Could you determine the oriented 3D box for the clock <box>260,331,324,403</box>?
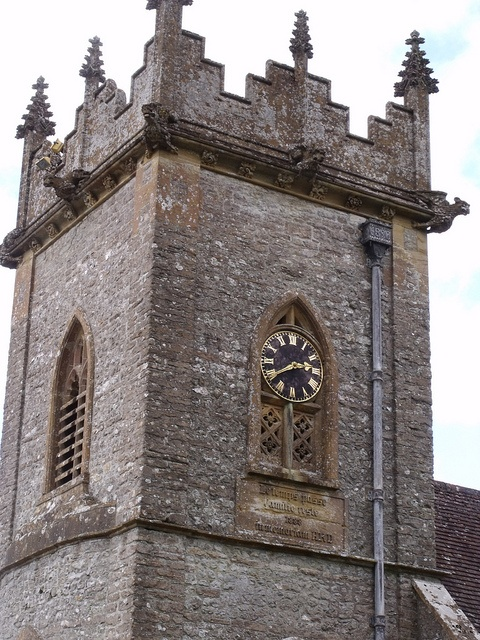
[{"bbox_3d":[0.573,0.562,21.732,0.731,0.738,0.058,16,-37,-40],"label":"clock"}]
